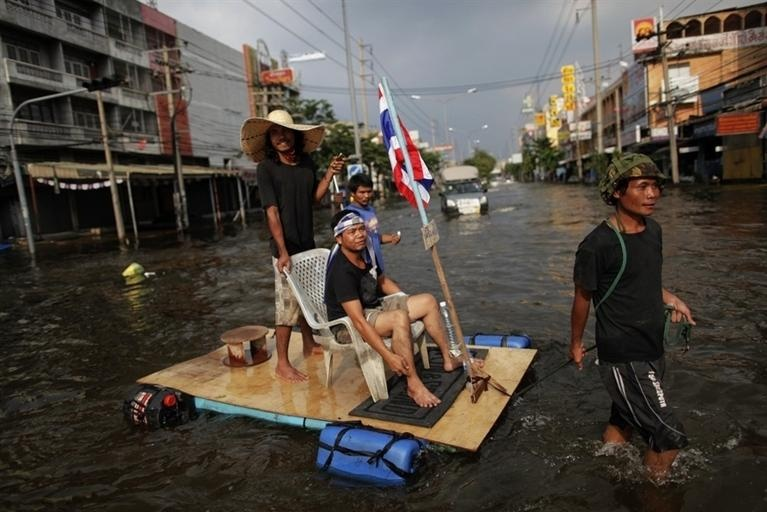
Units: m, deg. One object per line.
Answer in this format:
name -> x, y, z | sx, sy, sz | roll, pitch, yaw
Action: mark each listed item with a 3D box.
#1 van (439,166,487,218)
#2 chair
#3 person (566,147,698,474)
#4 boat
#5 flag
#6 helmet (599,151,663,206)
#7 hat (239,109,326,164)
van -> 3.612, -2.905, 26.192 | 1.903, 1.885, 3.375 | -8, 5, 2
chair -> -0.332, 0.772, 7.208 | 1.696, 1.377, 1.350 | 8, 21, 24
person -> 2.321, 0.594, 5.623 | 0.900, 3.071, 0.663 | -5, 11, 25
boat -> -0.656, 1.708, 6.665 | 2.722, 0.366, 2.323 | 2, 12, 25
flag -> 0.220, -1.264, 6.696 | 0.508, 1.449, 0.749 | -8, 10, 13
helmet -> 2.347, -0.767, 5.647 | 0.466, 0.425, 0.557 | -6, 3, -29
hat -> -1.335, -1.717, 7.514 | 0.783, 0.308, 0.882 | -28, -26, 30
